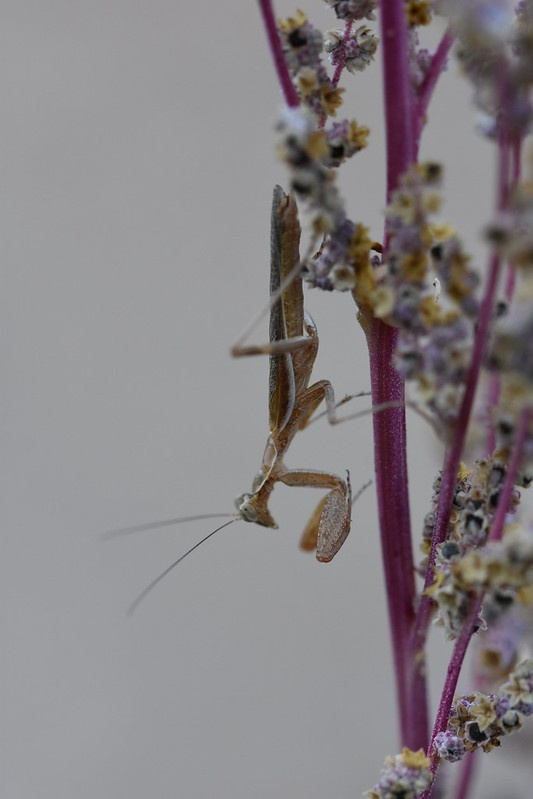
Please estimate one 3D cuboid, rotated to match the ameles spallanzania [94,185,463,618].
[{"bbox_3d":[-0.004,0.007,0.569,0.159,0.210,0.144,3,7,-7],"label":"ameles spallanzania"}]
